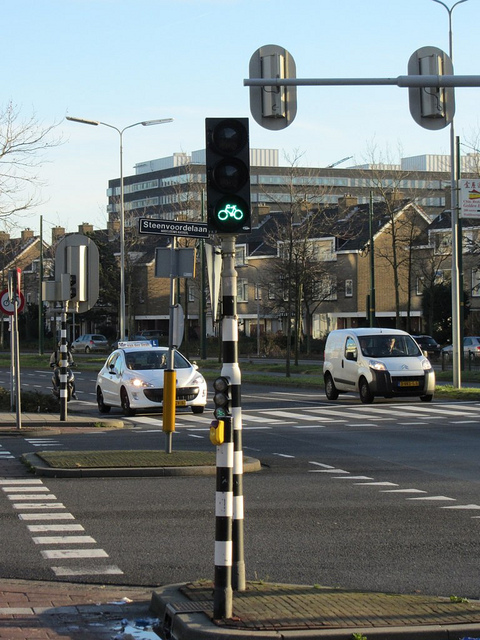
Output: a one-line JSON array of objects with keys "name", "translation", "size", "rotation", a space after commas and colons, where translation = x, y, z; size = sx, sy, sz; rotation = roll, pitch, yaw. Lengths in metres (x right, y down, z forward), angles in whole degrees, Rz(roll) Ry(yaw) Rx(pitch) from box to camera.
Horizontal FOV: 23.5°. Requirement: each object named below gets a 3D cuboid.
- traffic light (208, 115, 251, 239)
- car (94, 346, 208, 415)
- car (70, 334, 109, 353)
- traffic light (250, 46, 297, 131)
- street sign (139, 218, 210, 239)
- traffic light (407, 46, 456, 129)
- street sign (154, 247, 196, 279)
[{"name": "traffic light", "translation": [-0.065, -0.880, 7.079], "size": [0.251, 0.590, 0.240], "rotation": [-1, 0, 1]}, {"name": "car", "translation": [-1.741, 1.115, 21.970], "size": [1.073, 0.932, 1.840], "rotation": [1, -6, -26]}, {"name": "car", "translation": [-9.400, 1.491, 73.667], "size": [1.645, 0.968, 3.290], "rotation": [-1, 0, -33]}, {"name": "traffic light", "translation": [0.341, -2.365, 11.654], "size": [0.472, 0.661, 0.434], "rotation": [-1, 0, -1]}, {"name": "street sign", "translation": [-0.616, -0.888, 10.918], "size": [0.926, 0.176, 0.467], "rotation": [-2, 0, 35]}, {"name": "traffic light", "translation": [1.959, -2.394, 11.830], "size": [0.497, 0.571, 0.287], "rotation": [-1, 0, -3]}, {"name": "street sign", "translation": [-0.780, -0.721, 14.097], "size": [0.471, 0.315, 1.168], "rotation": [-1, 0, -3]}]
